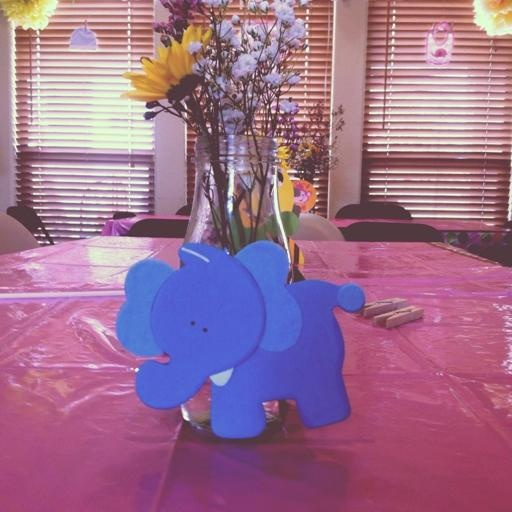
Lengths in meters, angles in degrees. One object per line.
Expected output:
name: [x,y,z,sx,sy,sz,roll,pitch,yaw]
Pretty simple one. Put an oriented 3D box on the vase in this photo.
vase: [-0.025,-0.037,0.399,0.080,0.105,0.075,-9,20,-27]
